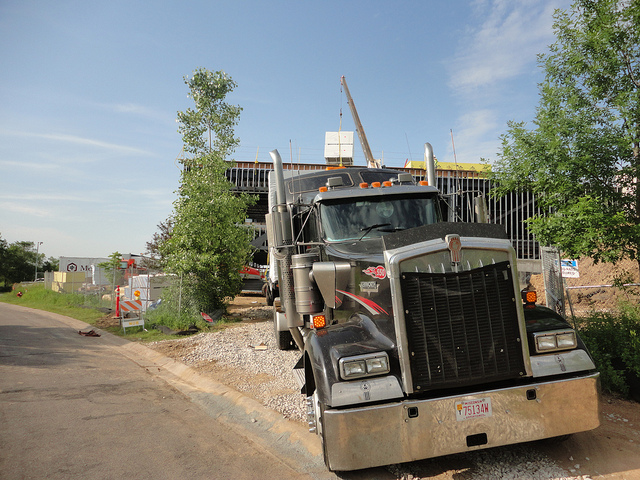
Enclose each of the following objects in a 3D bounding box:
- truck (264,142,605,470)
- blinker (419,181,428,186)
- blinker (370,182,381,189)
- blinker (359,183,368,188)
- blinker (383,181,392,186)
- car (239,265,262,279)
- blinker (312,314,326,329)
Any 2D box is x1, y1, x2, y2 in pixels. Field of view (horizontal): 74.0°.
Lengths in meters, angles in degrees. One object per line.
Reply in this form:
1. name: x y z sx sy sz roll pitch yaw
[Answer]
1. truck: 0.831 1.212 8.407 2.699 3.524 7.692 -4 -7 -12
2. blinker: 1.758 -0.962 7.134 0.102 0.052 0.106 3 -2 -16
3. blinker: 0.893 -0.880 6.766 0.086 0.071 0.133 -2 -3 -13
4. blinker: 0.723 -0.877 6.770 0.096 0.083 0.191 -1 -1 39
5. blinker: 1.111 -0.928 6.909 0.149 0.093 0.141 -1 -1 0
6. car: -4.848 2.186 28.672 1.662 0.895 1.130 8 -6 -12
7. blinker: -0.013 1.163 6.037 0.180 0.183 0.102 -1 -1 -3
